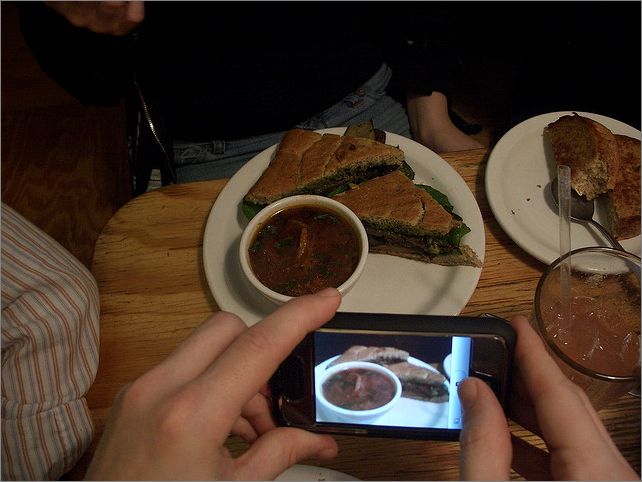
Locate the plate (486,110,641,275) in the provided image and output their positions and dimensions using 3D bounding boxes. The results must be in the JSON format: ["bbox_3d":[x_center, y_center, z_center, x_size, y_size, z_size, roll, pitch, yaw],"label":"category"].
[{"bbox_3d":[1.048,-0.282,2.330,0.725,0.127,0.782,-10,62,-8],"label":"plate"}]

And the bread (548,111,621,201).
[{"bbox_3d":[1.336,-0.399,2.474,0.379,0.113,0.437,2,89,18],"label":"bread"}]
